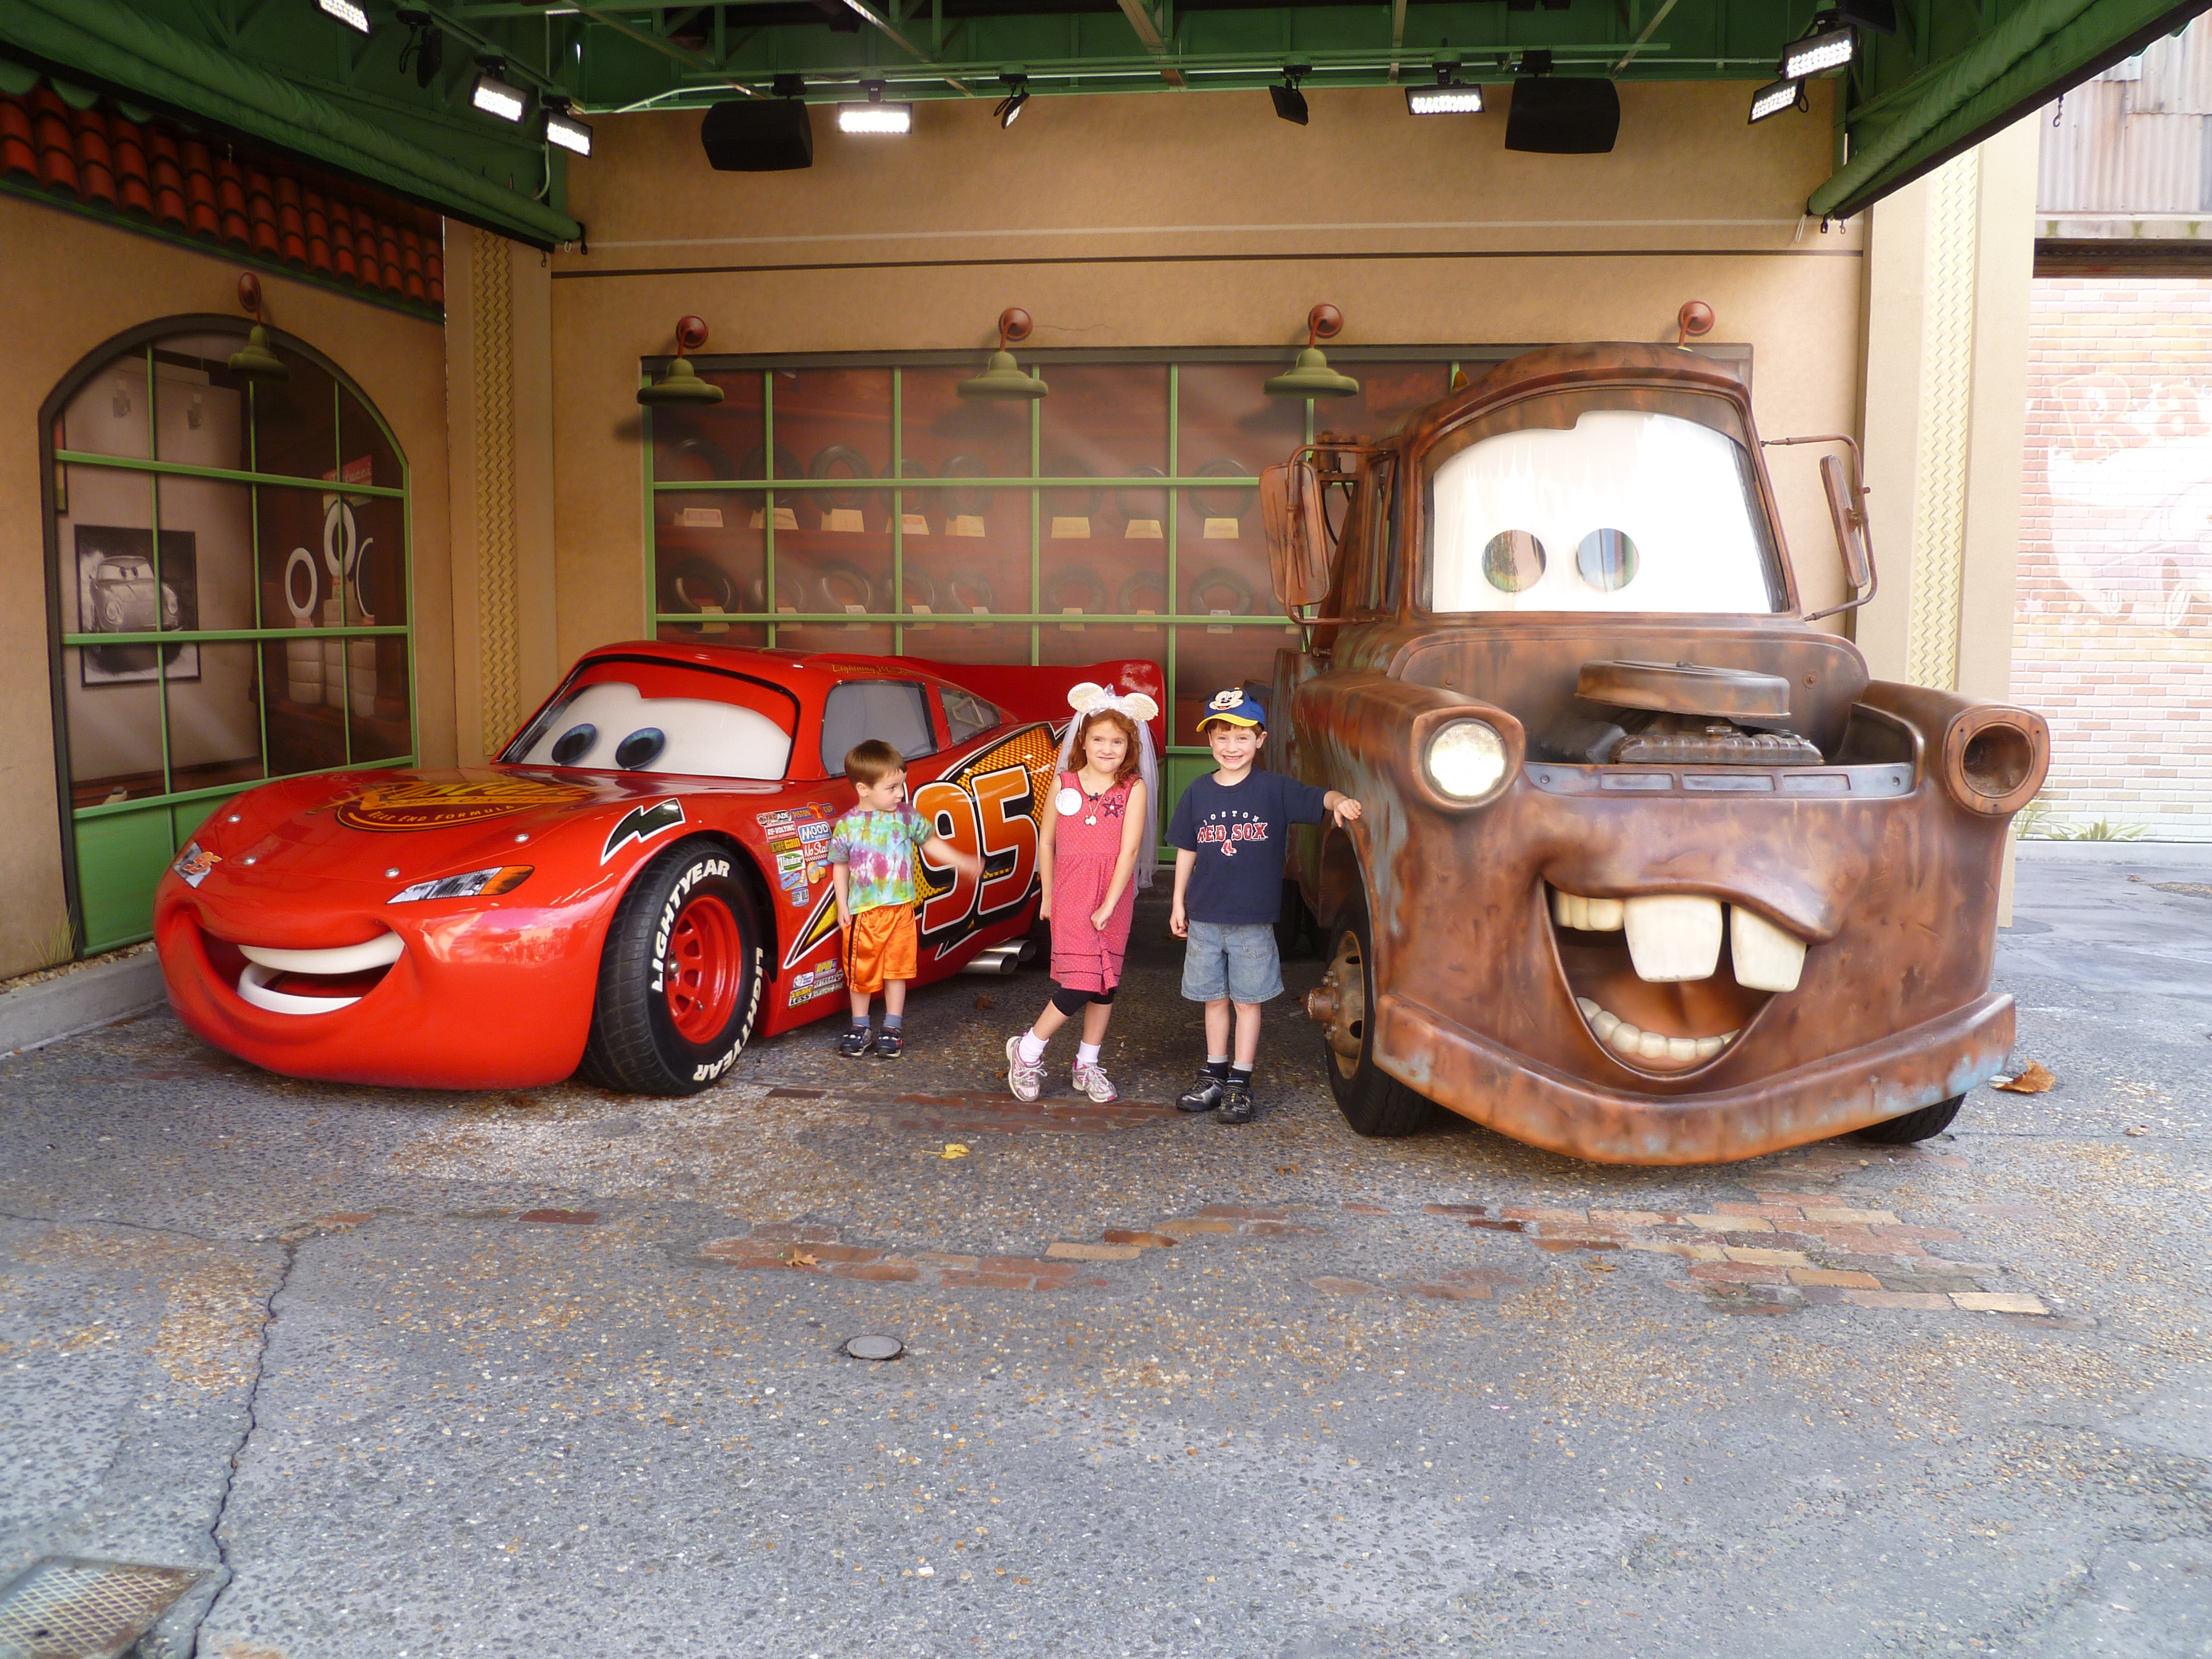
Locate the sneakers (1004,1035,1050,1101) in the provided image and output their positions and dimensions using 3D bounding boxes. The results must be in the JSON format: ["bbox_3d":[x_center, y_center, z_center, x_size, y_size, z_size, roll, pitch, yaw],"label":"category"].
[{"bbox_3d":[-0.277,0.861,5.337,0.121,0.249,0.103,-16,-11,38],"label":"sneakers"}]

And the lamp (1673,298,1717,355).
[{"bbox_3d":[3.389,-2.964,8.568,0.238,0.319,0.357,3,10,20],"label":"lamp"}]

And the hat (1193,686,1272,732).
[{"bbox_3d":[0.428,-0.404,5.023,0.255,0.158,0.323,3,-1,17],"label":"hat"}]

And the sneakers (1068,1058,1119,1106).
[{"bbox_3d":[-0.052,0.914,5.369,0.103,0.079,0.196,-3,4,-27],"label":"sneakers"}]

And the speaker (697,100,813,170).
[{"bbox_3d":[-1.951,-3.842,8.110,0.623,0.370,0.194,2,53,13],"label":"speaker"}]

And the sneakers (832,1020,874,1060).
[{"bbox_3d":[-1.003,0.844,5.831,0.173,0.109,0.281,0,-1,-4],"label":"sneakers"}]

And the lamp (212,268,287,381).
[{"bbox_3d":[-4.292,-2.567,7.370,0.263,0.536,0.610,-6,11,-29],"label":"lamp"}]

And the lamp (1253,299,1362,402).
[{"bbox_3d":[1.203,-2.839,8.602,0.503,0.578,0.642,1,9,9],"label":"lamp"}]

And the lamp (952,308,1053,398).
[{"bbox_3d":[-0.626,-2.861,8.786,0.686,0.599,0.629,2,4,-2],"label":"lamp"}]

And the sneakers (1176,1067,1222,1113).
[{"bbox_3d":[0.345,0.934,5.264,0.089,0.094,0.235,2,1,38],"label":"sneakers"}]

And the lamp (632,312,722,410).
[{"bbox_3d":[-2.610,-2.898,8.968,0.476,0.591,0.836,-3,9,-16],"label":"lamp"}]

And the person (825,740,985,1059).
[{"bbox_3d":[-0.782,0.265,5.754,0.559,1.238,0.425,2,10,14],"label":"person"}]

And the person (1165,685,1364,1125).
[{"bbox_3d":[0.514,0.267,5.089,0.564,1.493,0.797,0,10,4],"label":"person"}]
